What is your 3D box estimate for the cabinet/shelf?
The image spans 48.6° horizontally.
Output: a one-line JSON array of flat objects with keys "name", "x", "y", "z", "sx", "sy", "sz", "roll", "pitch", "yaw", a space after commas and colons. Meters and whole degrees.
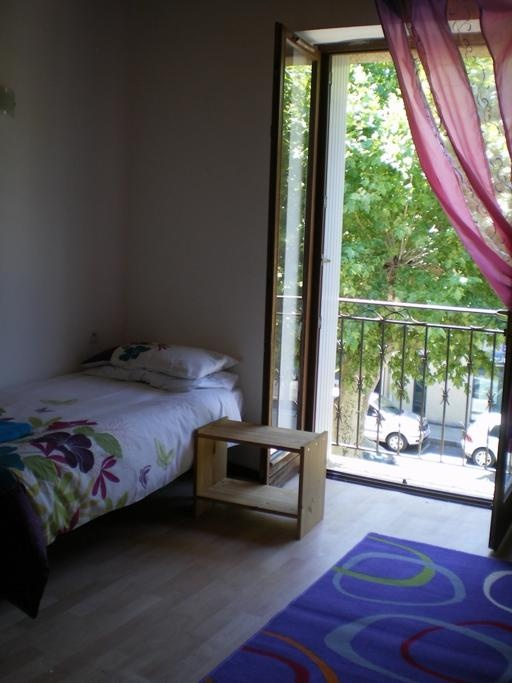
[{"name": "cabinet/shelf", "x": 0.016, "y": 0.584, "z": 2.443, "sx": 0.505, "sy": 0.357, "sz": 0.278, "roll": 3, "pitch": 3, "yaw": 26}]
